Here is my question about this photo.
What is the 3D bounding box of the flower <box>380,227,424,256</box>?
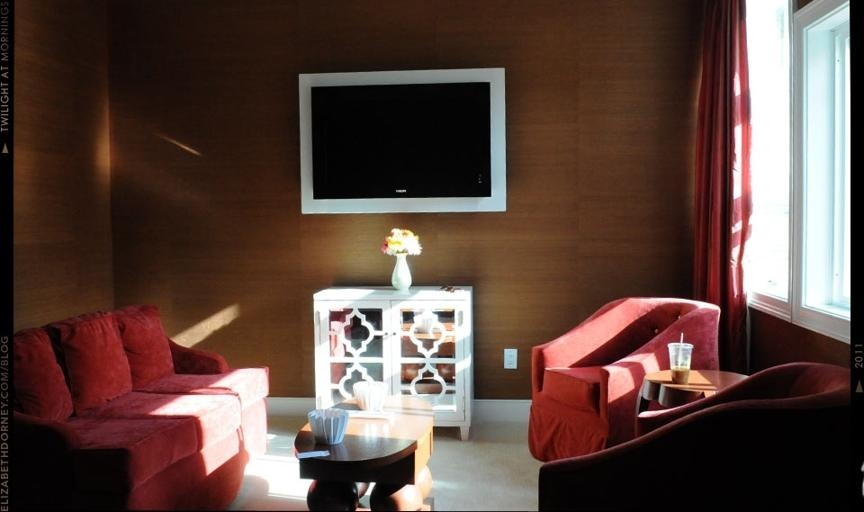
[{"bbox_3d":[-0.246,-0.116,5.426,0.335,0.233,0.305,1,3,-3],"label":"flower"}]

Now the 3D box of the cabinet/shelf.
[{"bbox_3d":[-0.297,0.826,4.977,1.299,1.103,0.476,0,-2,6],"label":"cabinet/shelf"}]

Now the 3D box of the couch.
[{"bbox_3d":[-1.989,1.072,4.461,1.519,1.260,1.062,-1,3,-31],"label":"couch"}]
